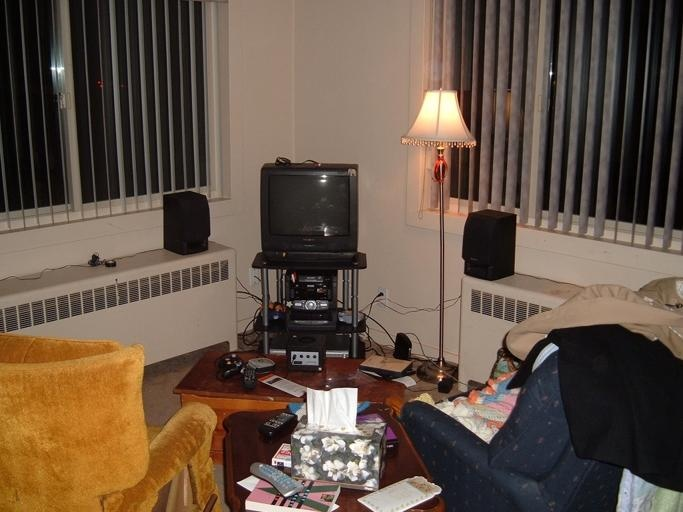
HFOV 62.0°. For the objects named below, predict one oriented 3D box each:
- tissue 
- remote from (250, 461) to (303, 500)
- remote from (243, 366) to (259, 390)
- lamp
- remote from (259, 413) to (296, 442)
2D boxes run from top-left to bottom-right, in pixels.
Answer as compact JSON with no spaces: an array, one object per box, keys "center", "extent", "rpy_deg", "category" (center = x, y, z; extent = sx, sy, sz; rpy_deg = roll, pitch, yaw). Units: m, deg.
[{"center":[-0.012,0.723,2.194],"extent":[0.323,0.347,0.178],"rpy_deg":[2,7,8],"category":"tissue "},{"center":[-0.249,0.832,2.133],"extent":[0.083,0.038,0.194],"rpy_deg":[-6,16,-42],"category":"remote"},{"center":[-0.474,0.643,2.981],"extent":[0.067,0.048,0.225],"rpy_deg":[2,46,-6],"category":"remote"},{"center":[0.629,-0.114,3.804],"extent":[0.450,1.951,0.578],"rpy_deg":[2,10,12],"category":"lamp"},{"center":[-0.279,0.739,2.474],"extent":[0.073,0.042,0.137],"rpy_deg":[8,14,30],"category":"remote"}]
